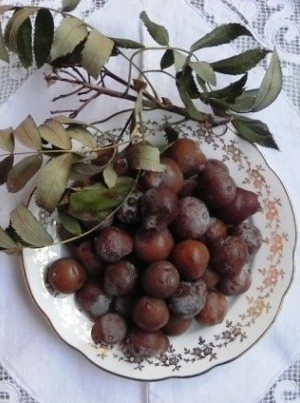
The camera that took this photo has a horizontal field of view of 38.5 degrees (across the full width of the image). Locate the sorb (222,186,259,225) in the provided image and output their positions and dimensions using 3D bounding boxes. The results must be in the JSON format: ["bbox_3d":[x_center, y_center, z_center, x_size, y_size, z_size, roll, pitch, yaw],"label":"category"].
[{"bbox_3d":[0.155,0.012,0.802,0.074,0.053,0.049,-25,77,5],"label":"sorb"}]

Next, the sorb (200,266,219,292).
[{"bbox_3d":[0.107,0.135,0.753,0.036,0.024,0.039,-10,99,-15],"label":"sorb"}]

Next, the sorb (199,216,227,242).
[{"bbox_3d":[0.114,0.052,0.755,0.046,0.048,0.042,7,27,15],"label":"sorb"}]

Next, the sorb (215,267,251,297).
[{"bbox_3d":[0.157,0.142,0.774,0.049,0.062,0.044,-9,89,23],"label":"sorb"}]

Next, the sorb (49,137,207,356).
[{"bbox_3d":[-0.037,0.069,0.828,0.305,0.144,0.355,24,79,-22],"label":"sorb"}]

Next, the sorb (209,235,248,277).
[{"bbox_3d":[0.132,0.090,0.726,0.075,0.065,0.061,-3,89,4],"label":"sorb"}]
